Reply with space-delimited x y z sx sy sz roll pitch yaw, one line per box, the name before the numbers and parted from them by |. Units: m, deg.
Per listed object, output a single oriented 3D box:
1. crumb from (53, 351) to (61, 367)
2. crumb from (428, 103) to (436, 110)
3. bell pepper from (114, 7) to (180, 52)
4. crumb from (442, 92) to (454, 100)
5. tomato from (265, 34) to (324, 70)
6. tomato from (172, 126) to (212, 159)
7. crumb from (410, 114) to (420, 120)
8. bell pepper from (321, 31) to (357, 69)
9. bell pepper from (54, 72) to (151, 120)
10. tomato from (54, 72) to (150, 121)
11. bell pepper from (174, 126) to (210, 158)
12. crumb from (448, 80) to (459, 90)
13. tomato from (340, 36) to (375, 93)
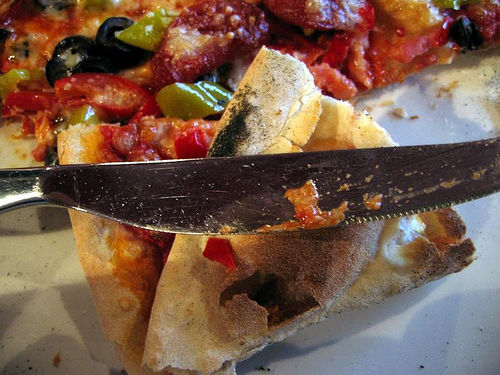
crumb | -0.788 0.698 2.902 0.026 0.011 0.041 11 74 -2
crumb | 0.788 -0.352 3.110 0.027 0.007 0.024 1 72 17
bell pepper | -0.426 -0.667 3.082 0.169 0.251 0.166 -34 128 -37
crumb | 0.867 -0.401 3.112 0.033 0.012 0.031 -13 93 2
tomato | 0.195 -0.611 3.115 0.245 0.132 0.142 -16 113 -25
tomato | -0.233 -0.186 2.861 0.138 0.086 0.138 -25 48 -30
crumb | 0.713 -0.306 3.101 0.032 0.011 0.017 -20 64 5
bell pepper | 0.382 -0.600 3.068 0.110 0.041 0.172 28 114 19
bell pepper | -0.634 -0.402 2.966 0.331 0.079 0.183 3 84 -9
tomato | -0.632 -0.389 3.026 0.386 0.092 0.202 8 90 -7
bell pepper | -0.227 -0.176 2.899 0.135 0.098 0.122 -26 122 -44
crumb | 0.891 -0.452 3.125 0.024 0.010 0.041 37 86 20
tomato | 0.465 -0.534 3.085 0.150 0.072 0.212 -4 110 -14
